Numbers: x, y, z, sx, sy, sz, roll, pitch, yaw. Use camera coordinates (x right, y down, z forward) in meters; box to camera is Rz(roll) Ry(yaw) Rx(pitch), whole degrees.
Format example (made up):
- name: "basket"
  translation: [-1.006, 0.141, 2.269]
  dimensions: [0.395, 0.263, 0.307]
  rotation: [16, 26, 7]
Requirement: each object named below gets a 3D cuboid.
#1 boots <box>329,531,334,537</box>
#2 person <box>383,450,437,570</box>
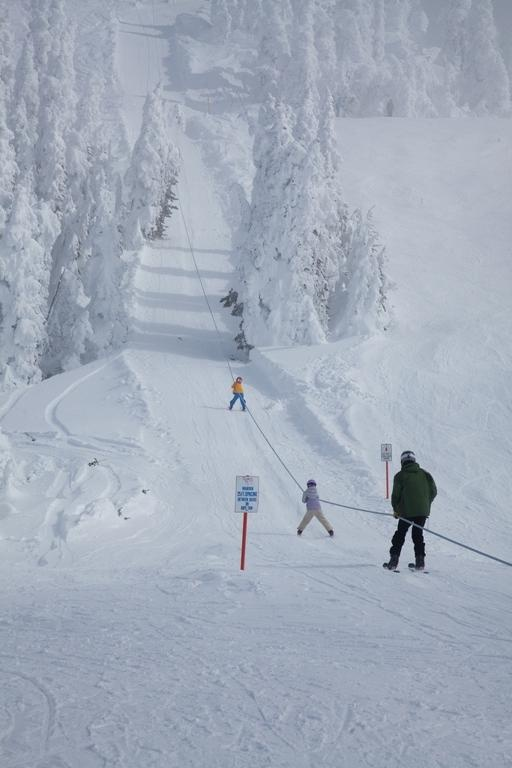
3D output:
- name: "boots"
  translation: [1.296, 2.630, 14.886]
  dimensions: [0.094, 0.128, 0.132]
  rotation: [0, -7, -5]
- name: "person"
  translation: [2.035, 1.819, 11.380]
  dimensions: [0.604, 1.776, 0.874]
  rotation: [5, 15, 12]
